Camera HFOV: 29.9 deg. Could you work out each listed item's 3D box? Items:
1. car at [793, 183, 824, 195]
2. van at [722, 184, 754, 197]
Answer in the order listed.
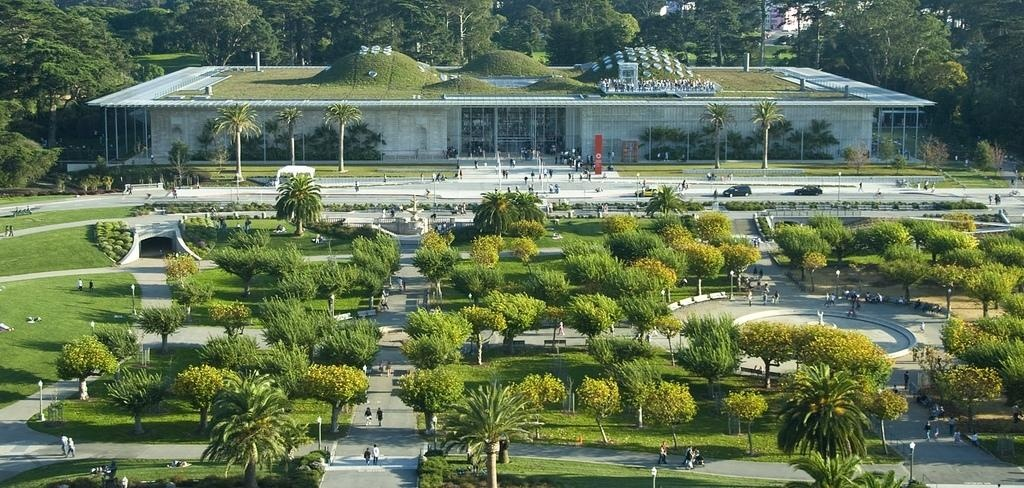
[{"bbox_3d":[63.238,-11.175,409.490,5.203,1.470,2.467,2,5,6],"label":"car"},{"bbox_3d":[47.925,-10.968,407.904,4.742,1.575,2.756,2,4,1],"label":"van"}]
